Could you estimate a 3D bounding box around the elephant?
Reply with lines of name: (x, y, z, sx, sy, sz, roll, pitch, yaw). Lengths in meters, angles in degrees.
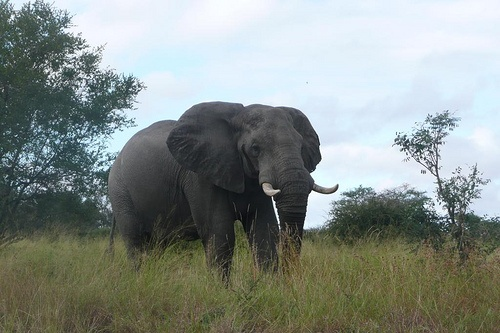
elephant: (-1.185, 0.727, 13.226, 6.082, 3.739, 3.559, -10, -4, 40)
